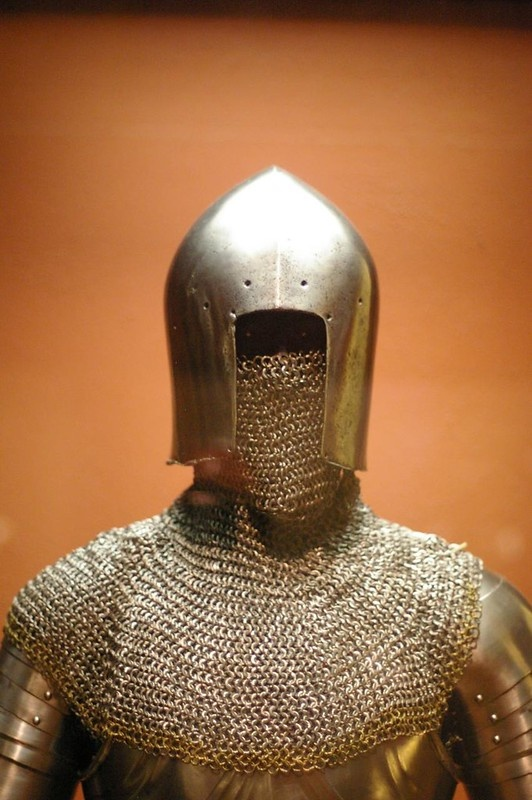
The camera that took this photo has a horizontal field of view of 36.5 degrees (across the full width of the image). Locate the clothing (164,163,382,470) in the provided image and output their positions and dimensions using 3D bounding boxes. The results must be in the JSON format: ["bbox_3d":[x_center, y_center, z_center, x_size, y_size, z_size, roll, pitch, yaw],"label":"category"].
[{"bbox_3d":[0.006,-0.121,1.529,0.469,0.628,0.469,1,-9,-4],"label":"clothing"}]
